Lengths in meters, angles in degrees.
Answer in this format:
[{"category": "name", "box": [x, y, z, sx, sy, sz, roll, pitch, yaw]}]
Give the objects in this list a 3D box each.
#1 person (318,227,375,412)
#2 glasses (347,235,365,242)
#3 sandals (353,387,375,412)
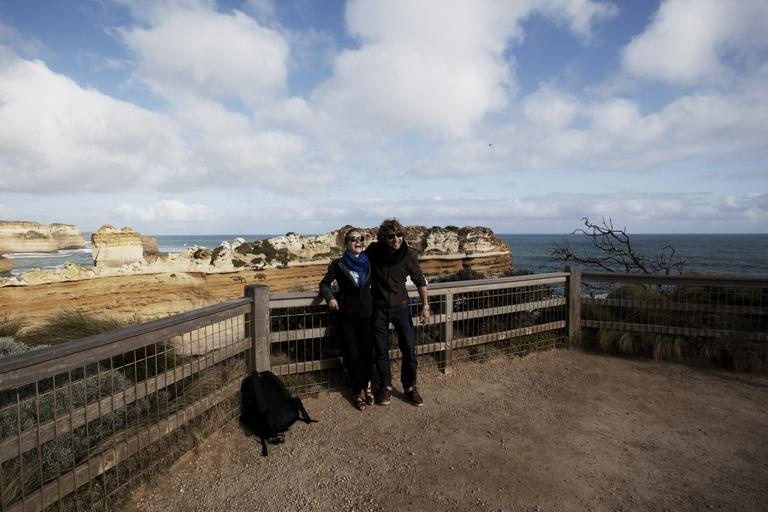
[{"category": "person", "box": [-0.526, 0.993, 6.721, 0.767, 2.874, 0.394, -5, 4, -5]}, {"category": "glasses", "box": [-0.429, -0.276, 6.605, 0.254, 0.097, 0.159, -5, 4, -8]}, {"category": "sandals", "box": [-0.310, 2.322, 6.759, 0.239, 0.108, 0.363, -1, -1, -25]}]
